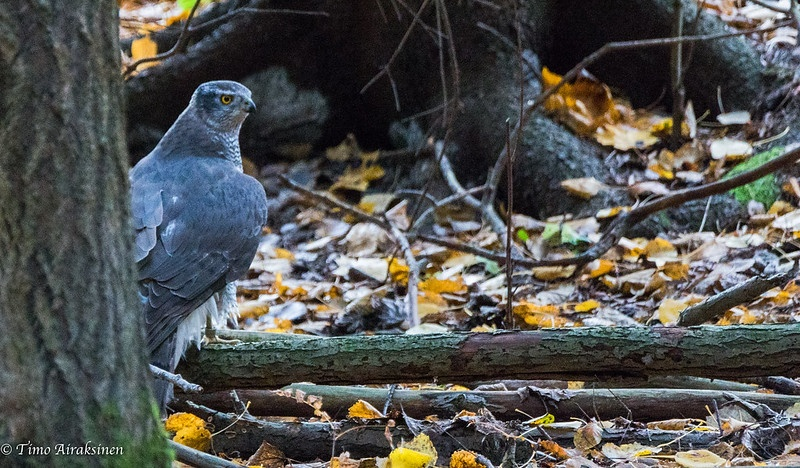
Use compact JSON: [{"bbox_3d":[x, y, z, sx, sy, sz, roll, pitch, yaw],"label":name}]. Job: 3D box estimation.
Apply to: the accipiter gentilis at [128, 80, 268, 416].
[{"bbox_3d":[-1.685,0.053,12.391,1.184,2.538,1.715,1,2,-25],"label":"accipiter gentilis"}]
